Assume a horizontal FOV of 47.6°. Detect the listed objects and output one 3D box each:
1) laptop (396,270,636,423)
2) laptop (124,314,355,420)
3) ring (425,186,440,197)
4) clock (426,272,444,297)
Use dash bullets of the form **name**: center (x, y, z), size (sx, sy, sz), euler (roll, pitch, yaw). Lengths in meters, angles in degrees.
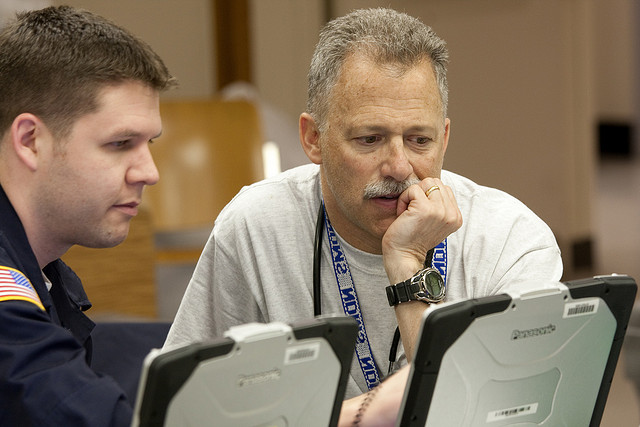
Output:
- **laptop**: center (0.511, 0.357, 1.956), size (0.497, 0.517, 0.055), euler (3, 28, -27)
- **laptop**: center (-0.178, 0.393, 1.854), size (0.429, 0.352, 0.066), euler (4, 29, -31)
- **ring**: center (0.370, -0.075, 2.386), size (0.054, 0.028, 0.020), euler (-8, 8, -34)
- **clock**: center (0.357, 0.226, 2.297), size (0.022, 0.070, 0.059), euler (-16, 1, 44)
